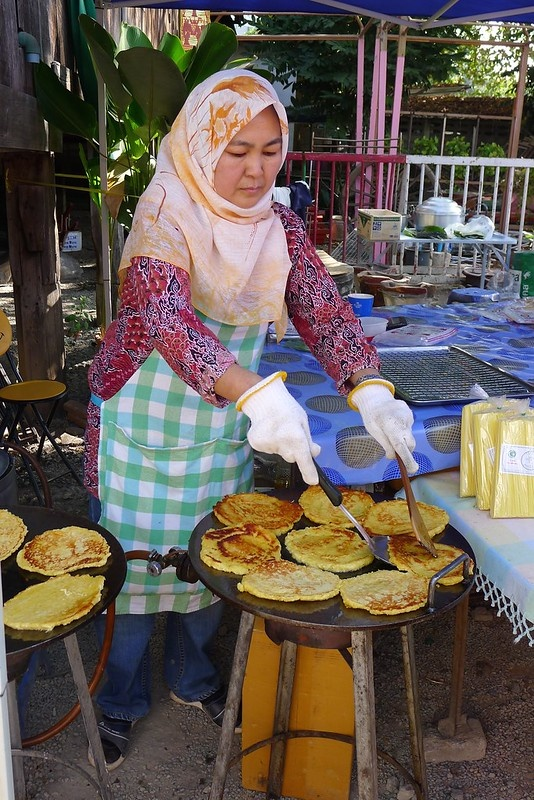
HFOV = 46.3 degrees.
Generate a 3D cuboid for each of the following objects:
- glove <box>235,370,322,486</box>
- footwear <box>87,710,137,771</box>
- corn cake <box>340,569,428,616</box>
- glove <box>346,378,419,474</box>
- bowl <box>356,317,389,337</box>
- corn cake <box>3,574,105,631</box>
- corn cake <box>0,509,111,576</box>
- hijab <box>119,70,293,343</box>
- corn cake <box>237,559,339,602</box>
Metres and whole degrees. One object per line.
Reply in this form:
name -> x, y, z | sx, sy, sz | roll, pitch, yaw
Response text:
glove -> 0.025, 0.046, 1.181 | 0.128, 0.210, 0.090 | -37, 0, 14
footwear -> -0.501, 1.118, 2.047 | 0.127, 0.092, 0.319 | 3, 10, -3
corn cake -> 0.219, 0.353, 1.175 | 0.161, 0.029, 0.195 | 0, 12, 12
glove -> 0.258, 0.042, 1.413 | 0.086, 0.105, 0.244 | -30, 43, -3
bowl -> 0.473, -0.335, 2.751 | 0.125, 0.059, 0.159 | -1, 14, -3
corn cake -> -0.411, 0.381, 1.211 | 0.174, 0.022, 0.212 | -1, 12, 10
corn cake -> -0.471, 0.302, 1.380 | 0.208, 0.027, 0.124 | 5, 18, -17
hijab -> -0.137, -0.473, 1.484 | 0.469, 0.602, 0.336 | -11, 15, -29
corn cake -> 0.035, 0.344, 1.197 | 0.189, 0.041, 0.165 | -5, 12, -10
